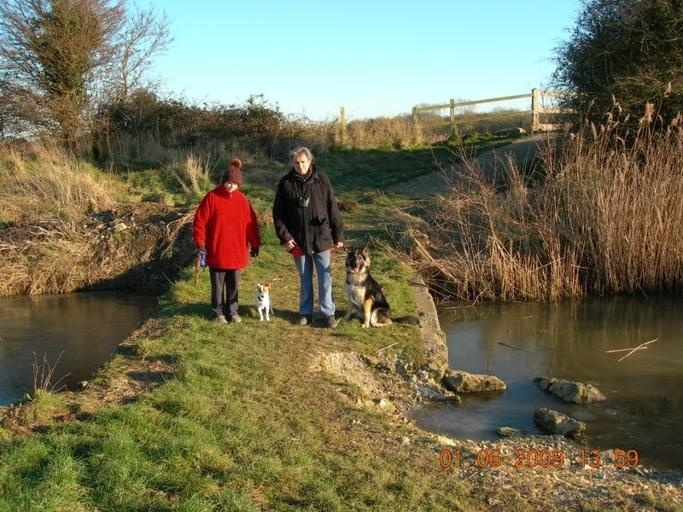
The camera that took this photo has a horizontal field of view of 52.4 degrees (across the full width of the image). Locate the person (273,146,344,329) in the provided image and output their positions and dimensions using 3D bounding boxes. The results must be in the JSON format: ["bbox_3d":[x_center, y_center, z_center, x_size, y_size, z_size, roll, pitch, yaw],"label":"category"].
[{"bbox_3d":[-0.543,-0.279,11.373,1.110,2.951,0.638,-1,3,-23],"label":"person"}]

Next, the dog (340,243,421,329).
[{"bbox_3d":[0.687,0.476,12.010,1.262,1.462,0.718,1,3,-17],"label":"dog"}]

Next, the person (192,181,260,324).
[{"bbox_3d":[-1.868,-0.056,11.340,1.045,2.244,0.417,-1,2,-16],"label":"person"}]

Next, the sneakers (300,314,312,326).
[{"bbox_3d":[-0.593,1.093,11.753,0.088,0.210,0.269,-5,-18,20],"label":"sneakers"}]

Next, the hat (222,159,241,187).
[{"bbox_3d":[-1.757,-1.343,11.246,0.300,0.432,0.381,1,3,25],"label":"hat"}]

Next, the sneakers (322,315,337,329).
[{"bbox_3d":[-0.195,1.114,11.781,0.137,0.200,0.257,-13,4,-43],"label":"sneakers"}]

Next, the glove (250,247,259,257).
[{"bbox_3d":[-1.472,-0.070,11.812,0.113,0.119,0.178,16,-18,-19],"label":"glove"}]
